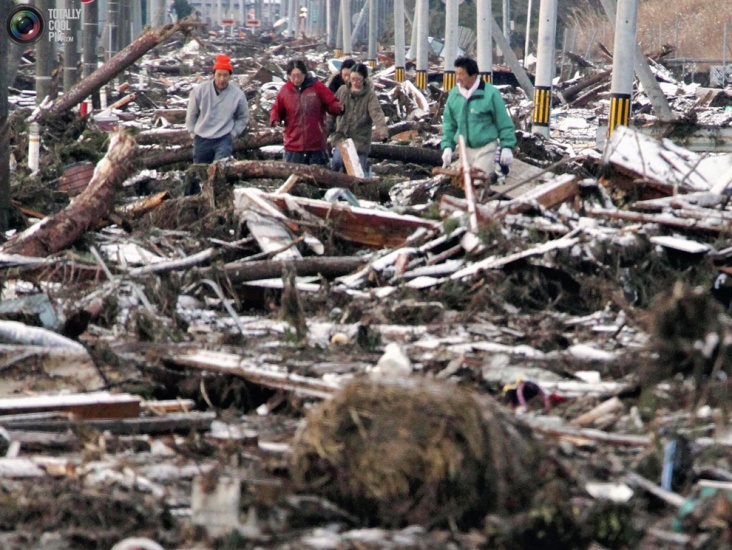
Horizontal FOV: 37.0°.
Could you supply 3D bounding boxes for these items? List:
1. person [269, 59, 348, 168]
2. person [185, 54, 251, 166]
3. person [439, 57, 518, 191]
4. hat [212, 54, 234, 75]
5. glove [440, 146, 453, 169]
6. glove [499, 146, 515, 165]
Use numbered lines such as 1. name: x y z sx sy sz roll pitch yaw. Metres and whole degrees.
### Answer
1. person: -0.772 -2.044 13.767 0.880 1.352 0.484 -3 9 -7
2. person: -1.919 -2.106 13.867 0.777 1.366 0.599 -1 10 2
3. person: 1.267 -1.520 12.517 0.788 2.009 0.555 2 23 20
4. hat: -1.812 -2.670 13.770 0.200 0.241 0.752 -3 12 -9
5. glove: 0.926 -1.327 12.375 0.056 0.246 0.163 16 -18 -25
6. glove: 1.560 -1.341 12.186 0.123 0.197 0.171 -1 14 1
